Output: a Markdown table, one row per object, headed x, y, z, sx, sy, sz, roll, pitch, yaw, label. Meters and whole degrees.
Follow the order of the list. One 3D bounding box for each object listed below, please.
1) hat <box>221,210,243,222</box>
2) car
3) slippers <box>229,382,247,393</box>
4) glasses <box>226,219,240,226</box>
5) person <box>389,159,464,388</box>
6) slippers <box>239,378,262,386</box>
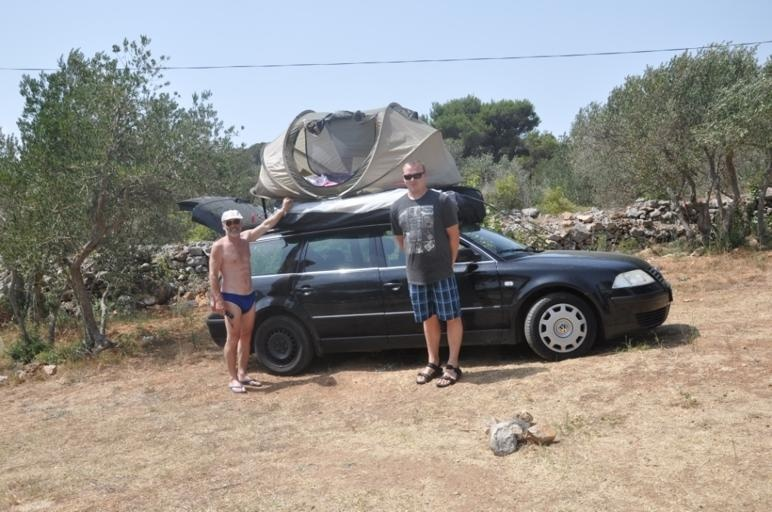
| x | y | z | sx | sy | sz | roll | pitch | yaw | label |
| --- | --- | --- | --- | --- | --- | --- | --- | --- | --- |
| -2.412 | -0.630 | 9.313 | 0.280 | 0.154 | 0.411 | -4 | 0 | -15 | hat |
| 0.804 | 0.463 | 10.514 | 7.681 | 3.271 | 3.085 | -5 | 2 | 7 | car |
| -2.280 | 2.014 | 9.197 | 0.129 | 0.113 | 0.269 | 5 | -10 | -42 | slippers |
| -2.337 | -0.513 | 9.100 | 0.205 | 0.088 | 0.029 | -9 | 13 | -18 | glasses |
| 0.597 | 0.268 | 8.533 | 0.883 | 3.182 | 0.612 | -2 | 12 | 9 | person |
| -2.126 | 1.979 | 9.361 | 0.318 | 0.126 | 0.129 | -1 | 2 | 5 | slippers |
